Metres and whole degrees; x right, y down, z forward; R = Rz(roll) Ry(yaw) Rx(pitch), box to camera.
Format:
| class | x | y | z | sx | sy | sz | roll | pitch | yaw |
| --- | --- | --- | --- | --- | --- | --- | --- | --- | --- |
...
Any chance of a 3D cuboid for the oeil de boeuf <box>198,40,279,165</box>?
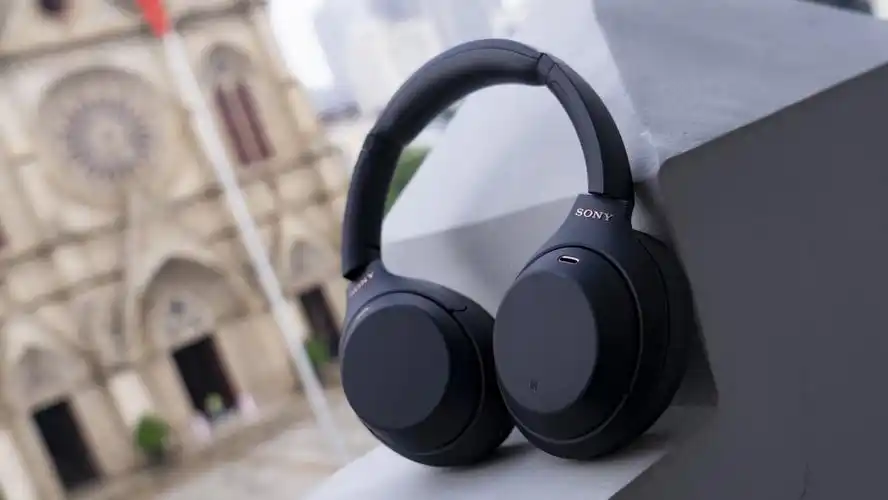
| class | x | y | z | sx | sy | sz | roll | pitch | yaw |
| --- | --- | --- | --- | --- | --- | --- | --- | --- | --- |
| oeil de boeuf | -0.446 | -0.318 | 1.697 | 0.094 | 0.202 | 0.265 | -16 | 84 | -29 |
